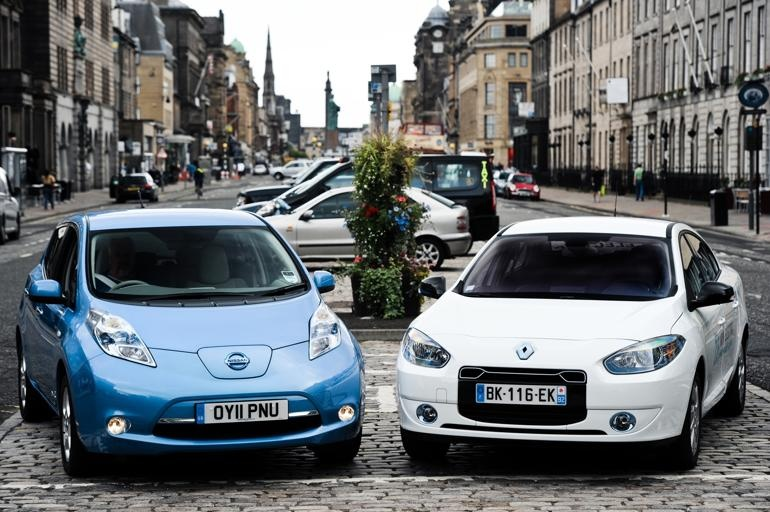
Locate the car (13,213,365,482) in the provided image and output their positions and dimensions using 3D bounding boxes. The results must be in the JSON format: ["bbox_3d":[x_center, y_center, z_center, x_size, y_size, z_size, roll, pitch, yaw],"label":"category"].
[{"bbox_3d":[-1.606,0.662,8.044,1.672,1.472,3.022,0,-1,-19],"label":"car"}]

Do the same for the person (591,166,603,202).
[{"bbox_3d":[12.201,-4.087,56.775,0.480,1.753,2.768,1,6,11],"label":"person"}]

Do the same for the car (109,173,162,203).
[{"bbox_3d":[-13.942,-3.808,55.057,1.851,1.635,3.696,0,6,-1],"label":"car"}]

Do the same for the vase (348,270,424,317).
[{"bbox_3d":[-0.007,0.568,14.295,0.682,0.527,0.751,0,-2,-2],"label":"vase"}]

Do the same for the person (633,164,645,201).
[{"bbox_3d":[14.475,-4.165,56.034,0.416,1.933,1.530,1,6,11],"label":"person"}]

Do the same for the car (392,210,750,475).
[{"bbox_3d":[1.754,0.723,8.545,3.352,1.956,2.038,-4,7,-37],"label":"car"}]
